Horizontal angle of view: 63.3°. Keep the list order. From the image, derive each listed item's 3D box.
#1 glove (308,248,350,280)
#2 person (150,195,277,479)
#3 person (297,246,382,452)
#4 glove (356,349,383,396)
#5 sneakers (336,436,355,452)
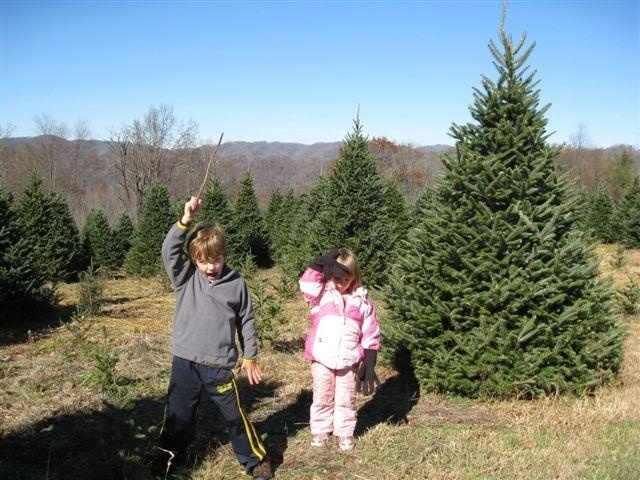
[{"bbox_3d":[0.098,0.266,5.284,0.423,0.312,0.230,7,11,24],"label":"glove"},{"bbox_3d":[-1.020,0.949,4.923,0.957,2.680,0.718,0,10,-10],"label":"person"},{"bbox_3d":[0.175,1.138,5.325,0.831,2.064,0.436,3,10,7],"label":"person"},{"bbox_3d":[0.472,1.350,5.254,0.209,0.527,0.311,5,11,17],"label":"glove"},{"bbox_3d":[0.258,2.097,5.377,0.143,0.158,0.147,-8,6,-23],"label":"sneakers"}]
